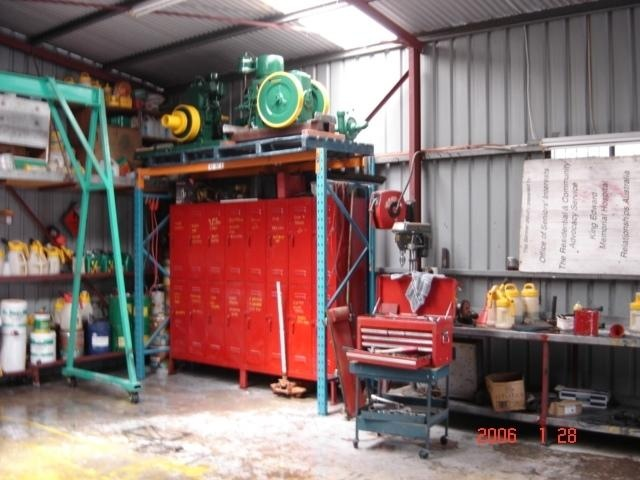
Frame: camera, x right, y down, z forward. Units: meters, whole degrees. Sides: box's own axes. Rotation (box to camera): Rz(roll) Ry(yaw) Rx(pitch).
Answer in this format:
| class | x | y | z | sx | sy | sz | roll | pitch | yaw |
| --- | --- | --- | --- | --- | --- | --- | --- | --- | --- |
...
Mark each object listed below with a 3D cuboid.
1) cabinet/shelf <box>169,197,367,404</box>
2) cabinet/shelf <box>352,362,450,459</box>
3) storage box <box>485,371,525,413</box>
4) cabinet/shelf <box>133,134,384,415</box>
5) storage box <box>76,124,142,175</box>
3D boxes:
| class | x | y | z | sx | sy | sz | roll | pitch | yaw |
| --- | --- | --- | --- | --- | --- | --- | --- | --- | --- |
| cabinet/shelf | -0.834 | 0.632 | 9.653 | 2.447 | 2.370 | 0.888 | -1 | -2 | 37 |
| cabinet/shelf | 0.927 | 1.690 | 7.675 | 1.029 | 0.923 | 1.263 | 1 | 8 | 12 |
| storage box | 2.114 | 1.724 | 7.791 | 0.291 | 0.285 | 0.418 | -1 | -1 | 10 |
| cabinet/shelf | -0.720 | 0.470 | 9.003 | 3.038 | 3.346 | 1.136 | 0 | 1 | 43 |
| storage box | -3.045 | -1.274 | 9.803 | 0.378 | 0.847 | 0.768 | -5 | -6 | 40 |
